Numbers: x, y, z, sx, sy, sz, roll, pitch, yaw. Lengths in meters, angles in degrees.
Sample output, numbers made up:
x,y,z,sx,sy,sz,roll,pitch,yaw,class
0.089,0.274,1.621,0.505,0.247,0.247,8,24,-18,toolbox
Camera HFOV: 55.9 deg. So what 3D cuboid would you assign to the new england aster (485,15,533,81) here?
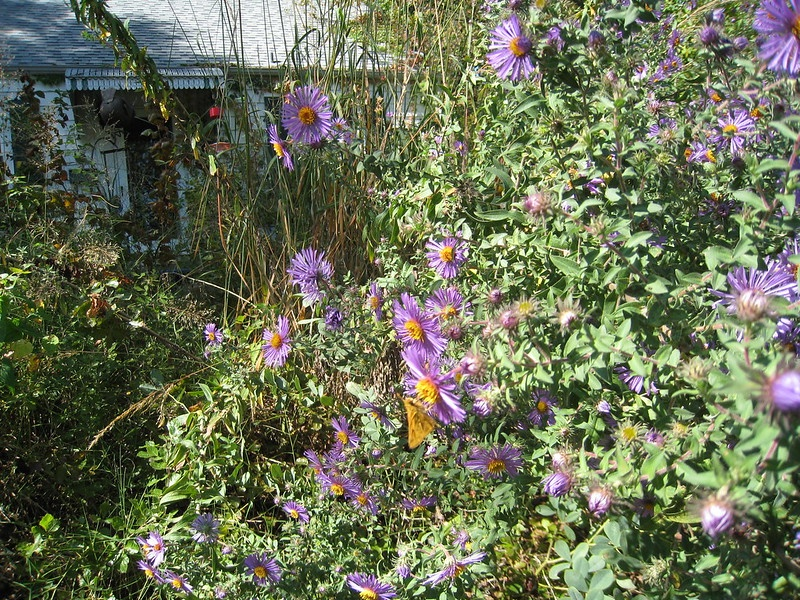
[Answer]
x,y,z,sx,sy,sz,roll,pitch,yaw,class
0.363,-0.817,2.467,0.173,0.185,0.047,38,14,6,new england aster
